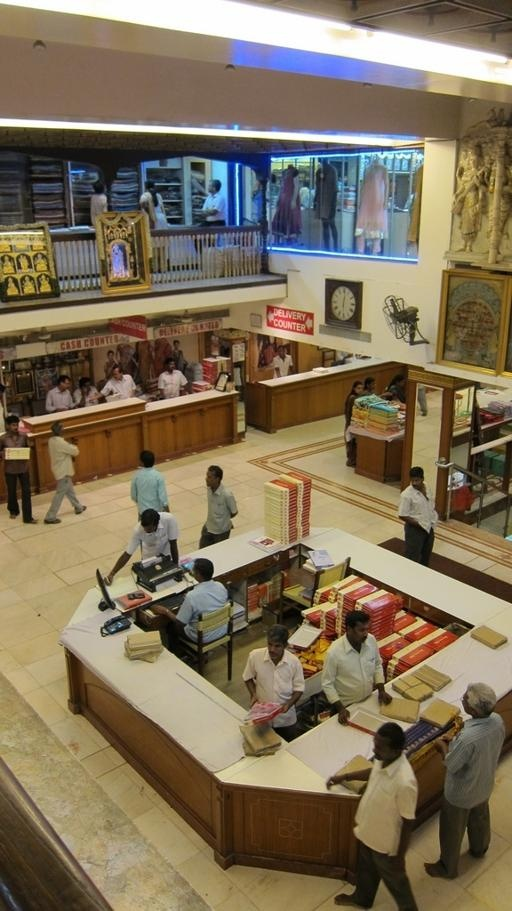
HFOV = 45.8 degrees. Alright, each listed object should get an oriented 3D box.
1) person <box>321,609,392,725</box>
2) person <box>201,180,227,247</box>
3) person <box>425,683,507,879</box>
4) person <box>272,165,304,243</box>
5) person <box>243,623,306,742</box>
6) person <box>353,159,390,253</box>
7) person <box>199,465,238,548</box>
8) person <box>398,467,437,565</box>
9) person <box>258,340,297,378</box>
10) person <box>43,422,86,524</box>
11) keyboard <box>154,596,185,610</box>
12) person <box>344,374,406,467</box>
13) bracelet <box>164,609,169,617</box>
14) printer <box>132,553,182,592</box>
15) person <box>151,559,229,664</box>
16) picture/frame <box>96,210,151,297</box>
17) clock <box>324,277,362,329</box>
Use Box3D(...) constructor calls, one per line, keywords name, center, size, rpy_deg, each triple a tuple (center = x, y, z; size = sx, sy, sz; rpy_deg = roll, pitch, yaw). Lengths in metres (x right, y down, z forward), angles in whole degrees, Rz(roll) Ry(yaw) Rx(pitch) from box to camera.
Box3D(name="person", center=(0.708, 1.502, 4.313), size=(0.500, 0.931, 0.369), rpy_deg=(-5, 13, -11))
Box3D(name="person", center=(-0.916, -5.909, 14.423), size=(0.489, 0.570, 1.830), rpy_deg=(13, 9, 6))
Box3D(name="person", center=(1.316, 2.031, 3.793), size=(0.511, 1.564, 0.364), rpy_deg=(-14, 18, -41))
Box3D(name="person", center=(0.593, -5.026, 12.143), size=(0.283, 1.387, 0.862), rpy_deg=(-8, 15, -24))
Box3D(name="person", center=(0.135, 1.692, 4.299), size=(0.414, 1.111, 0.523), rpy_deg=(-3, 13, -5))
Box3D(name="person", center=(1.948, -4.156, 10.272), size=(0.170, 1.496, 0.745), rpy_deg=(-9, 15, -26))
Box3D(name="person", center=(-0.475, 0.633, 7.268), size=(0.464, 1.133, 1.161), rpy_deg=(-3, 14, -3))
Box3D(name="person", center=(1.880, 0.757, 7.159), size=(0.378, 1.439, 0.746), rpy_deg=(4, 15, 25))
Box3D(name="person", center=(0.713, -2.521, 15.701), size=(1.063, 1.016, 1.070), rpy_deg=(-12, 17, -33))
Box3D(name="person", center=(-3.173, 0.194, 9.871), size=(0.631, 1.626, 1.261), rpy_deg=(-6, 14, -16))
Box3D(name="keyboard", center=(-0.786, 1.360, 5.638), size=(0.111, 0.044, 0.193), rpy_deg=(14, 23, 34))
Box3D(name="person", center=(2.247, -0.598, 11.487), size=(0.805, 1.647, 1.585), rpy_deg=(8, 20, 23))
Box3D(name="bracelet", center=(-0.793, 1.408, 5.417), size=(0.018, 0.067, 0.043), rpy_deg=(-17, 6, -41))
Box3D(name="printer", center=(-0.965, 1.114, 5.882), size=(0.293, 0.210, 0.328), rpy_deg=(24, 34, 38))
Box3D(name="person", center=(-0.631, 1.437, 5.500), size=(0.657, 1.125, 0.442), rpy_deg=(7, 16, 33))
Box3D(name="picture/frame", center=(-2.400, -3.627, 10.921), size=(1.242, 1.854, 0.193), rpy_deg=(-13, 17, -34))
Box3D(name="clock", center=(1.589, -2.729, 10.860), size=(0.092, 0.922, 0.832), rpy_deg=(-8, 15, -33))
